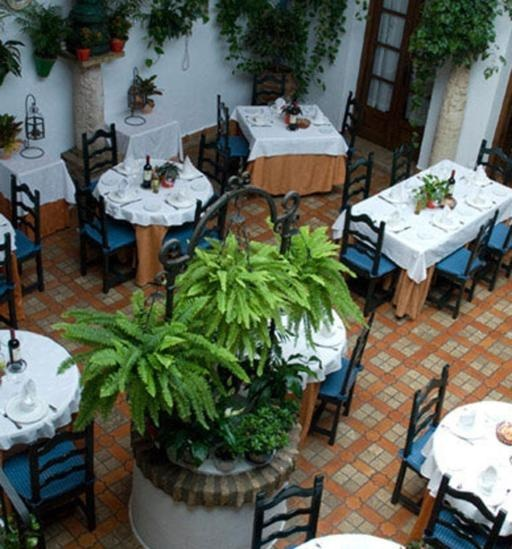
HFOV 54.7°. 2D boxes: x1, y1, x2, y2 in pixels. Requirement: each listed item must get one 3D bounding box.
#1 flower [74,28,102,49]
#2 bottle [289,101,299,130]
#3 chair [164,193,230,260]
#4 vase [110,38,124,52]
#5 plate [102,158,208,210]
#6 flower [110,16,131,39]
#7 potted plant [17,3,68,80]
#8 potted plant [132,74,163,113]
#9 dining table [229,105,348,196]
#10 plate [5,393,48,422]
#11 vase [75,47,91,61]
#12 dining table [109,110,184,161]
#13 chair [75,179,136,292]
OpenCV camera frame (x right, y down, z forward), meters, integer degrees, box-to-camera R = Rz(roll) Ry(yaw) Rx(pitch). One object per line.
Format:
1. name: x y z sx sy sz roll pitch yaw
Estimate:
1. flower: -2.075 -2.966 6.265 0.329 0.233 0.184 -12 32 -29
2. bottle: 0.558 -2.336 7.377 0.165 0.349 0.319 5 27 2
3. chair: -0.529 -0.422 4.158 0.431 0.691 0.398 20 60 0
4. vase: -1.856 -3.075 6.683 0.172 0.182 0.136 -6 29 -18
5. plate: -1.335 -1.140 5.976 0.866 0.205 0.821 -15 39 -26
6. flower: -1.812 -3.282 6.635 0.258 0.295 0.187 -6 29 -19
7. potted plant: -2.551 -2.879 6.189 0.456 0.879 0.569 13 29 16
8. potted plant: -1.643 -2.740 7.471 0.468 0.488 0.454 19 48 7
9. dining table: 0.586 -1.869 7.688 1.639 1.144 1.170 -2 28 -11
10. plate: -1.478 0.851 3.201 0.261 0.119 0.218 1 27 -5
11. vase: -2.166 -2.762 6.278 0.157 0.119 0.155 -27 53 -34
12. dining table: -1.509 -1.975 7.256 0.927 0.575 1.140 -18 43 -26
13. chair: -1.689 -0.425 5.645 0.666 1.073 0.671 38 54 20
